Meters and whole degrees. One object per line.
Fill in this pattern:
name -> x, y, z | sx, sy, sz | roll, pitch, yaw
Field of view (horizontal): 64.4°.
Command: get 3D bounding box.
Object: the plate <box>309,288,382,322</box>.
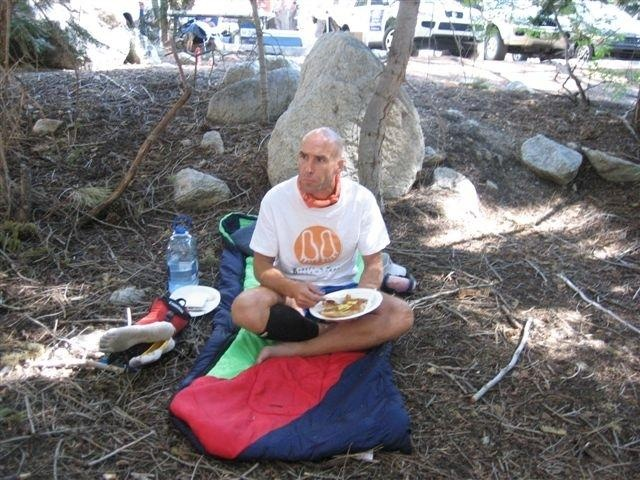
plate -> 0.203, 0.494, 3.849 | 0.340, 0.095, 0.338 | -3, 17, 41

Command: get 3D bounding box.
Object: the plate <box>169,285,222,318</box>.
plate -> -1.126, 0.557, 4.722 | 0.405, 0.105, 0.410 | 28, 35, 33
